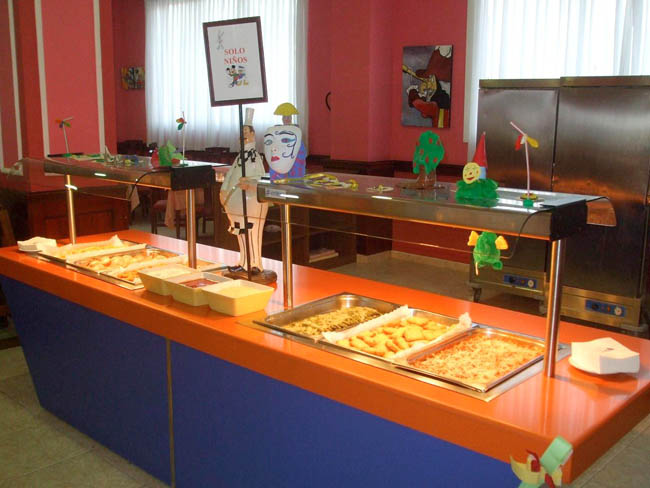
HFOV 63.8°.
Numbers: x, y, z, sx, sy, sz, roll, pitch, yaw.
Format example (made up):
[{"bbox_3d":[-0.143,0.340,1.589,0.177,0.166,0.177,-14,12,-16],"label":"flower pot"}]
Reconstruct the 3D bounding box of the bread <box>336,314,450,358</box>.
[{"bbox_3d":[0.274,0.343,1.964,0.290,0.043,0.168,-17,23,-35],"label":"bread"}]

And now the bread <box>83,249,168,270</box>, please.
[{"bbox_3d":[-1.104,0.083,2.857,0.256,0.045,0.182,-14,22,-30],"label":"bread"}]

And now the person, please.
[{"bbox_3d":[-0.395,-0.193,2.501,0.224,0.736,0.412,-2,14,-9],"label":"person"}]
